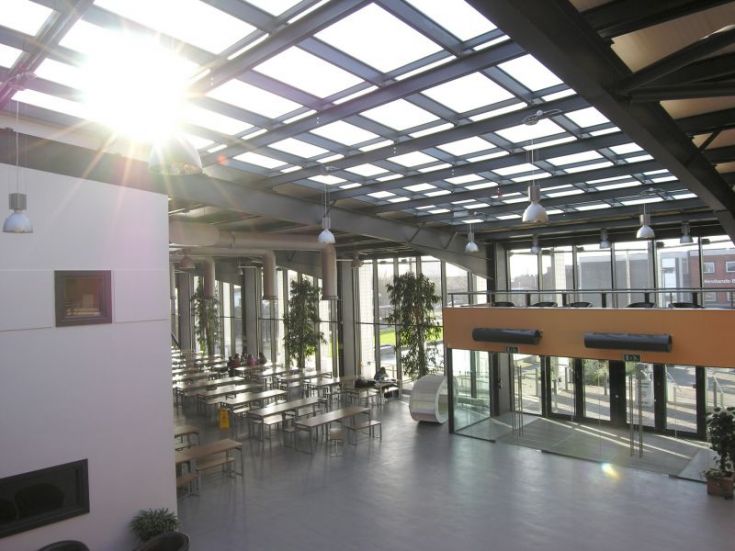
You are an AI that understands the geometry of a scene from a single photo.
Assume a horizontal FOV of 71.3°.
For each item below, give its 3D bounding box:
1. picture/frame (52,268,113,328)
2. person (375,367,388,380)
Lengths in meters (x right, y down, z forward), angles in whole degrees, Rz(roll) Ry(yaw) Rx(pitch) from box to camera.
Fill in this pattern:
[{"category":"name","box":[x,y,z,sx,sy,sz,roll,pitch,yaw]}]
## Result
[{"category":"picture/frame","box":[-4.661,0.349,8.352,0.809,0.845,0.109,-2,2,-6]},{"category":"person","box":[0.511,4.014,21.171,0.457,0.757,0.573,-3,-7,21]}]
